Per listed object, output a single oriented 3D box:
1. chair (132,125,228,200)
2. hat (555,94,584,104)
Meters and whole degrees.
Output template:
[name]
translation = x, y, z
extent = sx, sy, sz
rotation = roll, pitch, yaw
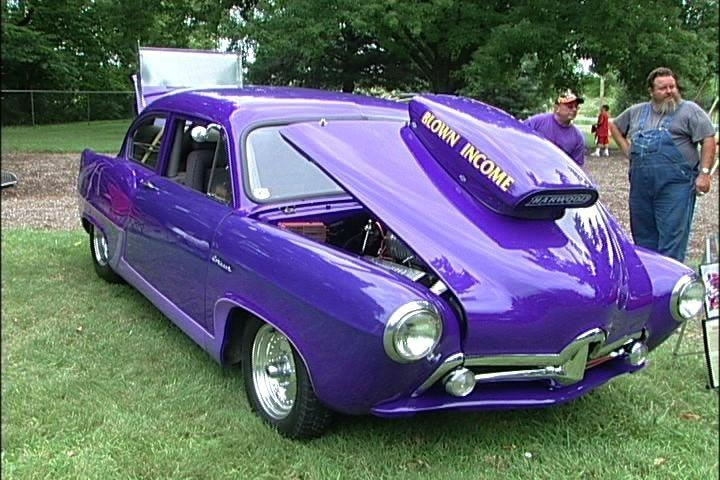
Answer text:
[chair]
translation = -1.613, -0.657, 5.362
extent = 0.744, 0.774, 0.738
rotation = 4, 21, -25
[hat]
translation = 2.306, -1.590, 6.761
extent = 0.154, 0.086, 0.239
rotation = -6, 9, -28
